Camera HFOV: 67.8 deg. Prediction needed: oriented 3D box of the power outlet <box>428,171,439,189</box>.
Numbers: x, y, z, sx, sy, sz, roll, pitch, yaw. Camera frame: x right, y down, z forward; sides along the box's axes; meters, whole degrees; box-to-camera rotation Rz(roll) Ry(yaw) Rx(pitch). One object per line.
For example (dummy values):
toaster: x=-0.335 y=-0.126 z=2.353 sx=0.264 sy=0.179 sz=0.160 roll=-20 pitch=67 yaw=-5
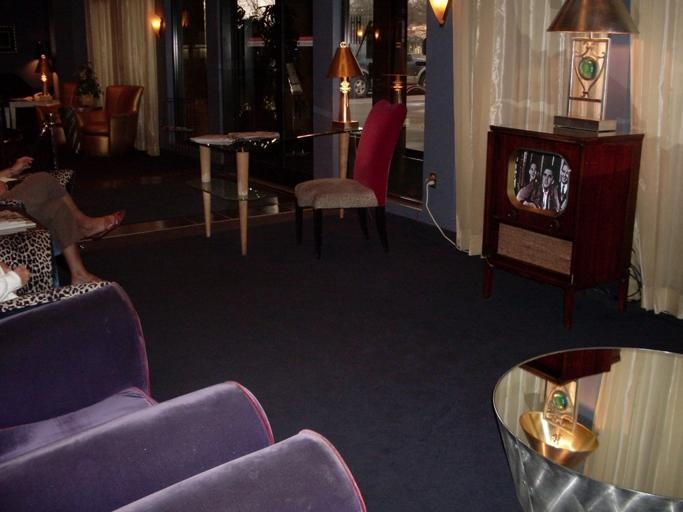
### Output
power outlet: x=0.791 y=-0.671 z=4.511 sx=0.037 sy=0.144 sz=0.119 roll=-12 pitch=21 yaw=-35

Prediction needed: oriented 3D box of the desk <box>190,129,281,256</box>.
desk: x=-0.826 y=-0.639 z=4.460 sx=0.708 sy=1.118 sz=0.992 roll=14 pitch=21 yaw=35

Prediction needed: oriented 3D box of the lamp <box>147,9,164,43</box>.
lamp: x=-1.812 y=-2.264 z=5.001 sx=0.039 sy=0.286 sz=0.171 roll=9 pitch=19 yaw=28

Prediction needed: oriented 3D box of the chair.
chair: x=0.049 y=-0.666 z=4.104 sx=0.781 sy=1.197 sz=0.768 roll=-5 pitch=16 yaw=-31

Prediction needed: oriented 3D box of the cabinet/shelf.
cabinet/shelf: x=1.281 y=-0.252 z=3.049 sx=0.497 sy=1.034 sz=0.688 roll=-7 pitch=16 yaw=-22

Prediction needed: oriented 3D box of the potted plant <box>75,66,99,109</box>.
potted plant: x=-2.387 y=-1.616 z=4.808 sx=0.227 sy=0.388 sz=0.130 roll=5 pitch=17 yaw=15
